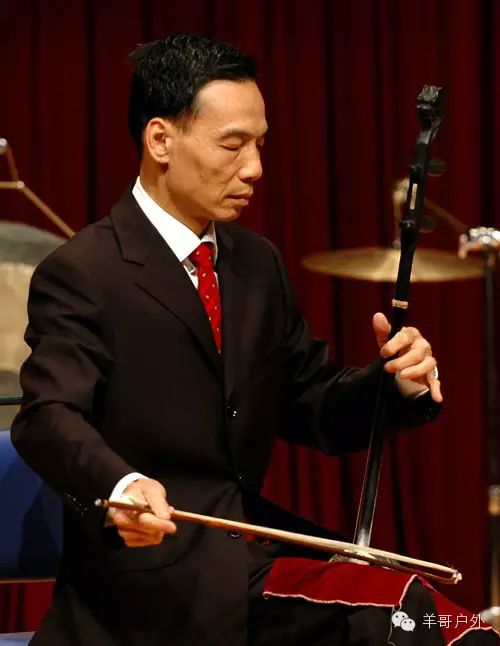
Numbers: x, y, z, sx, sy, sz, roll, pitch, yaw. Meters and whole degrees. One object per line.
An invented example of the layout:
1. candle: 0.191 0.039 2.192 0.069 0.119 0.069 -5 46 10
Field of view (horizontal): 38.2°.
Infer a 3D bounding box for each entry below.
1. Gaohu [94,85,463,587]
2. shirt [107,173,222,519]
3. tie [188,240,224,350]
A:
1. Gaohu: 0.105 0.096 0.905 0.120 0.804 0.303 22 11 33
2. shirt: -0.125 -0.018 1.070 0.071 0.333 0.255 6 0 24
3. tie: -0.065 -0.053 1.099 0.032 0.212 0.030 11 -32 -26
